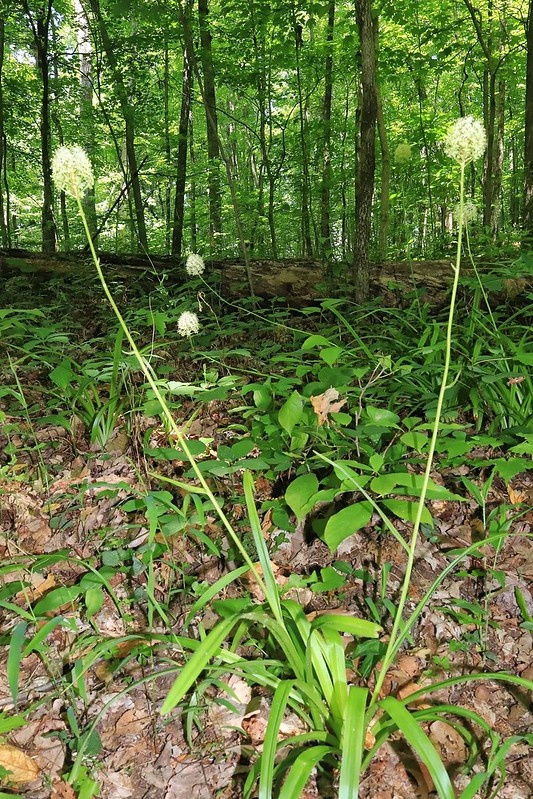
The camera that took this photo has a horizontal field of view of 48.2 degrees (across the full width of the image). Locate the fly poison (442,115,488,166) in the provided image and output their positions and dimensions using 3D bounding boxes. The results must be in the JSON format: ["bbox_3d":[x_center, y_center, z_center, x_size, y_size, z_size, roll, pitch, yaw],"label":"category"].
[{"bbox_3d":[0.571,-0.739,1.714,0.104,0.150,0.175,2,16,19],"label":"fly poison"}]
